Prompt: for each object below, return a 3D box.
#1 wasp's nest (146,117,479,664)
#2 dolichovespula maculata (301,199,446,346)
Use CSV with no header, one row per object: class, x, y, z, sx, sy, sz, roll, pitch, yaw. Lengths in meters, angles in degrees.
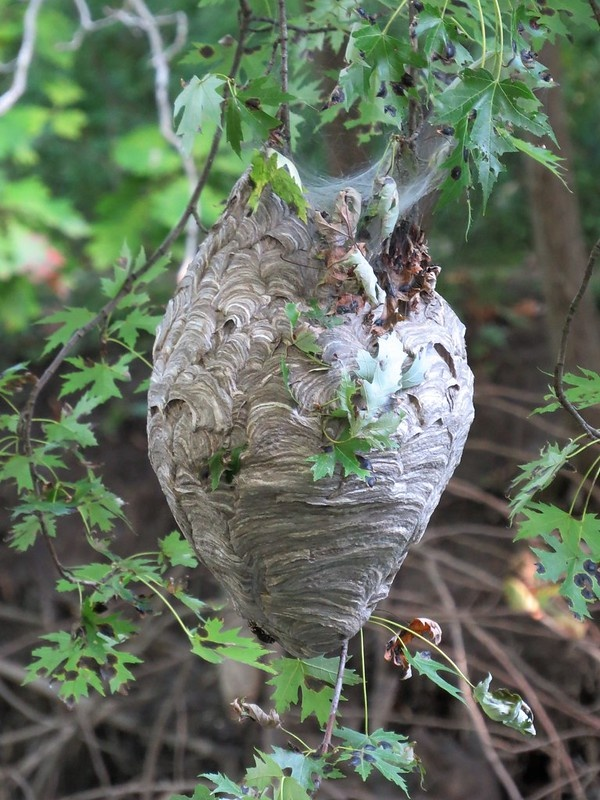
wasp's nest,0.026,0.018,2.115,0.737,0.696,1.039,2,68,1
dolichovespula maculata,0.151,-0.282,2.060,0.284,0.207,0.283,-4,108,-11
